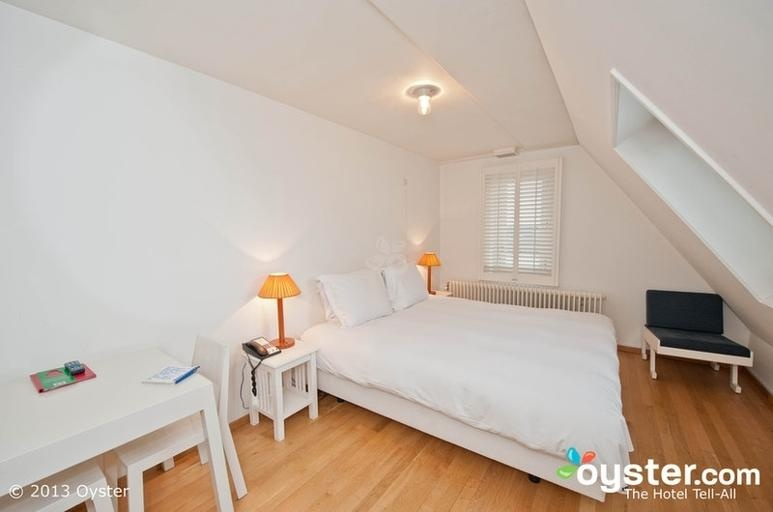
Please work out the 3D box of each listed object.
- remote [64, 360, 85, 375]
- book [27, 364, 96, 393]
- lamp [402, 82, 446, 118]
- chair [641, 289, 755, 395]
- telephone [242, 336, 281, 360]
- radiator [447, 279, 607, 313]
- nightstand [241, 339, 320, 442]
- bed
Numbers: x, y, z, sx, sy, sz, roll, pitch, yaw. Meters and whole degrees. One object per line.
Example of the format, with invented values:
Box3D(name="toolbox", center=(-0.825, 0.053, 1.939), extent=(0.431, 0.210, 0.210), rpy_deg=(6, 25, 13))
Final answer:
Box3D(name="remote", center=(-2.052, 0.741, 3.116), extent=(0.076, 0.040, 0.132), rpy_deg=(-5, 11, -40))
Box3D(name="book", center=(-2.102, 0.793, 3.066), extent=(0.209, 0.024, 0.204), rpy_deg=(13, 14, 41))
Box3D(name="lamp", center=(0.337, -1.320, 4.004), extent=(0.323, 0.200, 0.309), rpy_deg=(-1, 1, -22))
Box3D(name="chair", center=(2.934, 0.769, 4.554), extent=(0.696, 0.834, 0.953), rpy_deg=(5, 3, 18))
Box3D(name="telephone", center=(-1.029, 0.747, 3.866), extent=(0.224, 0.084, 0.166), rpy_deg=(10, 13, 34))
Box3D(name="radiator", center=(1.718, 0.466, 5.489), extent=(1.215, 0.096, 0.314), rpy_deg=(2, 27, 19))
Box3D(name="nightstand", center=(-0.880, 1.098, 4.011), extent=(0.449, 0.576, 0.468), rpy_deg=(5, 9, 40))
Box3D(name="bed", center=(0.706, 0.940, 3.589), extent=(1.591, 0.382, 1.632), rpy_deg=(9, 15, 38))
